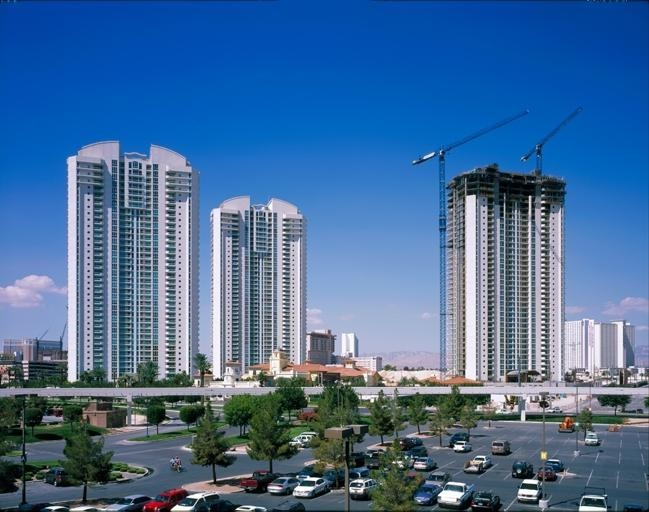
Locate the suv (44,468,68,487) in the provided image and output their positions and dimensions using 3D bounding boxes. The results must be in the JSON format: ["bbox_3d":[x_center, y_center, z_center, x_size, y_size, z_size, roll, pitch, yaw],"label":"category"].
[{"bbox_3d":[-40.602,33.945,173.182,3.902,1.611,2.284,1,-6,35],"label":"suv"}]
